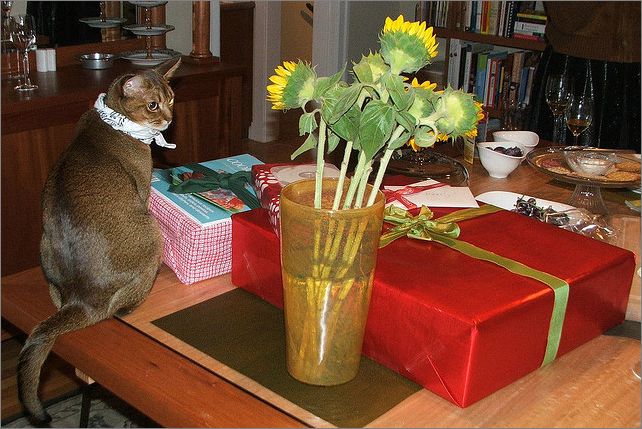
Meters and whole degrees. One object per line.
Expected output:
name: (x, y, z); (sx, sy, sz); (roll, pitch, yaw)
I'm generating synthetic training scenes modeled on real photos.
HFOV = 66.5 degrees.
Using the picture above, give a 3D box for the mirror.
mirror: (-1.279, -0.916, 2.515); (0.820, 0.186, 0.343); (-17, 33, -34)

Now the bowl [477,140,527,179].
bowl: (0.597, -0.180, 1.610); (0.169, 0.113, 0.168); (4, 6, 0)

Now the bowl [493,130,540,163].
bowl: (0.702, -0.260, 1.777); (0.140, 0.051, 0.108); (18, 36, 24)

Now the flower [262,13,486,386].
flower: (0.066, -0.015, 0.751); (0.324, 0.531, 0.267); (7, 15, 22)

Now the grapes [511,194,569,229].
grapes: (0.531, 0.012, 1.204); (0.085, 0.037, 0.112); (-17, 37, -43)

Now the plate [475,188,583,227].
plate: (0.525, -0.021, 1.238); (0.109, 0.032, 0.236); (-8, 22, -32)
